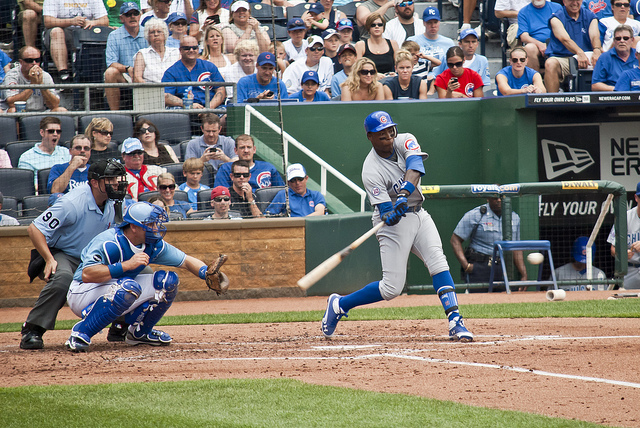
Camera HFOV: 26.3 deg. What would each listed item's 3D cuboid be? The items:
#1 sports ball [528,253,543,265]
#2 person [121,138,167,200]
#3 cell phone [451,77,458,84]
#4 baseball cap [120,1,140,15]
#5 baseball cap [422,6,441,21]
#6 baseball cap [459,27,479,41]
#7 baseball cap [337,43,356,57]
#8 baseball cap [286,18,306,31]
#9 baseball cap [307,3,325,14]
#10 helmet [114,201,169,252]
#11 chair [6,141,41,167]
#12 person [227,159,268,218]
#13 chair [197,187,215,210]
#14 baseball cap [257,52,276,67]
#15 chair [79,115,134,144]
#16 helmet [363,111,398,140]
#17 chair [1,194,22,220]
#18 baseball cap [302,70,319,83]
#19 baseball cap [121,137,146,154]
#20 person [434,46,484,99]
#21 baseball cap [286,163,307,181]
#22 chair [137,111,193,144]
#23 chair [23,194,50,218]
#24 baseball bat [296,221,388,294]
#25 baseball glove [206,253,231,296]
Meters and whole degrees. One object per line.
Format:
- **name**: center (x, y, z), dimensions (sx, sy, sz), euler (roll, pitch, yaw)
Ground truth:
- **sports ball**: center (3.376, 0.690, 21.468), dimensions (0.229, 0.153, 0.163), euler (0, 15, 4)
- **person**: center (-2.788, -0.662, 21.182), dimensions (0.831, 1.056, 0.635), euler (-10, 16, -35)
- **cell phone**: center (2.342, -2.312, 23.826), dimensions (0.118, 0.102, 0.065), euler (0, 8, 1)
- **baseball cap**: center (-3.332, -3.510, 23.453), dimensions (0.301, 0.220, 0.425), euler (-2, 8, -17)
- **baseball cap**: center (1.987, -3.572, 24.587), dimensions (0.271, 0.231, 0.288), euler (-4, 15, -11)
- **baseball cap**: center (2.606, -3.160, 24.201), dimensions (0.303, 0.188, 0.320), euler (0, 15, 2)
- **baseball cap**: center (0.437, -2.819, 23.645), dimensions (0.307, 0.206, 0.405), euler (0, 15, 1)
- **baseball cap**: center (-0.454, -3.359, 24.323), dimensions (0.293, 0.218, 0.405), euler (-1, 15, -1)
- **baseball cap**: center (-0.097, -3.727, 24.949), dimensions (0.369, 0.189, 0.122), euler (-12, 19, -38)
- **helmet**: center (-2.307, 0.081, 17.636), dimensions (0.685, 0.572, 0.486), euler (6, 17, 14)
- **chair**: center (-4.770, -0.946, 21.905), dimensions (0.392, 0.500, 0.416), euler (0, -3, -27)
- **person**: center (-1.185, -0.406, 21.703), dimensions (0.584, 0.921, 0.323), euler (-1, 15, -1)
- **chair**: center (-1.872, -0.214, 21.743), dimensions (0.280, 0.378, 0.318), euler (0, 2, -16)
- **baseball cap**: center (-0.931, -2.561, 22.828), dimensions (0.297, 0.261, 0.240), euler (-3, 15, -9)
- **chair**: center (-3.529, -1.428, 22.295), dimensions (0.565, 0.736, 0.605), euler (1, -1, -28)
- **helmet**: center (0.789, -1.158, 17.873), dimensions (0.413, 0.337, 0.371), euler (0, 15, 5)
- **chair**: center (-4.848, -0.093, 21.203), dimensions (0.316, 0.430, 0.357), euler (2, -1, -38)
- **baseball cap**: center (-0.176, -2.323, 23.326), dimensions (0.305, 0.216, 0.224), euler (-6, 15, -18)
- **baseball cap**: center (-2.961, -1.069, 21.402), dimensions (0.356, 0.217, 0.290), euler (-6, 16, -21)
- **person**: center (2.407, -2.300, 23.917), dimensions (0.894, 1.186, 0.678), euler (4, 16, 33)
- **baseball cap**: center (-0.440, -0.651, 21.804), dimensions (0.364, 0.250, 0.296), euler (5, 16, 21)
- **chair**: center (-2.609, -1.453, 22.520), dimensions (0.613, 0.757, 0.622), euler (-1, -1, -29)
- **chair**: center (-4.498, -0.137, 21.339), dimensions (0.378, 0.471, 0.374), euler (1, 22, -18)
- **baseball bat**: center (0.291, 0.495, 18.161), dimensions (1.792, 0.190, 0.187), euler (-39, -8, -36)
- **baseball glove**: center (-1.351, 0.760, 17.668), dimensions (0.313, 0.561, 0.217), euler (1, 33, -5)
